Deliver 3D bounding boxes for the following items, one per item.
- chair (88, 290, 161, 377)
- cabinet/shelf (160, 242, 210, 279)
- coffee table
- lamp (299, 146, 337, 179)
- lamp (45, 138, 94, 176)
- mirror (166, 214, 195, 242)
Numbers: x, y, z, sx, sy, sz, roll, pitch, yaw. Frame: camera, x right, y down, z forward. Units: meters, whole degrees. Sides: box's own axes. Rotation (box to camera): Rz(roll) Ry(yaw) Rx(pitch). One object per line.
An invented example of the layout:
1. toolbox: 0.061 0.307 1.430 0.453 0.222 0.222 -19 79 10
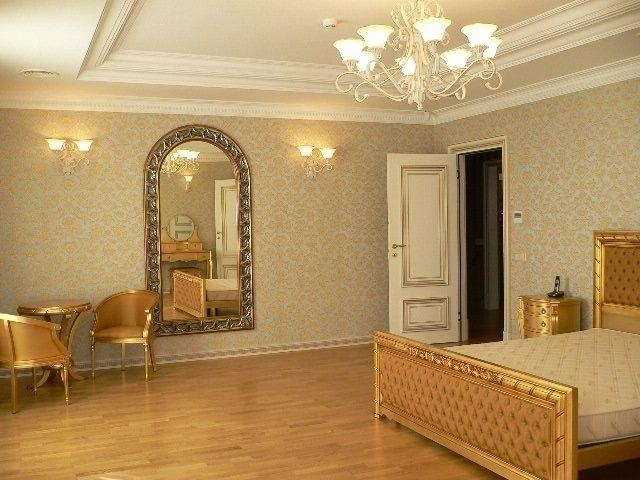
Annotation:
1. chair: -2.516 1.191 5.666 0.855 1.040 0.819 -1 1 -9
2. cabinet/shelf: -1.906 0.195 6.314 0.696 0.540 0.461 0 0 -26
3. coffee table: -3.189 1.266 5.576 1.030 1.125 1.035 -1 2 -34
4. lamp: -0.017 -1.198 6.794 0.594 0.466 0.278 -1 1 -10
5. lamp: -3.261 -1.098 5.778 0.549 0.471 0.261 -1 2 -29
6. mirror: -1.987 -0.171 6.212 0.394 0.413 0.054 -1 2 -9
